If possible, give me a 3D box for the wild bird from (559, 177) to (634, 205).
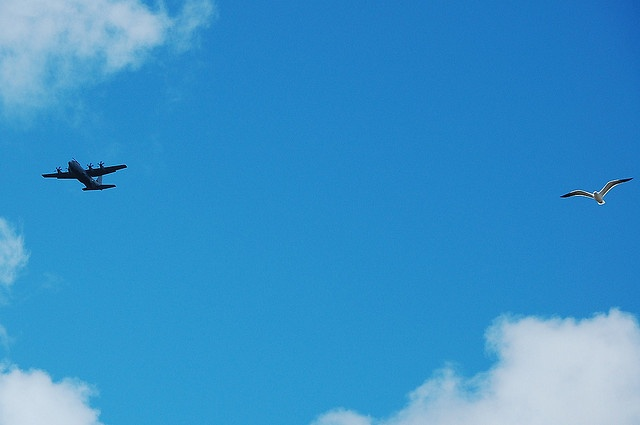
[{"bbox_3d":[13.995,-0.902,67.525,3.715,0.671,1.463,-15,-7,21],"label":"wild bird"}]
